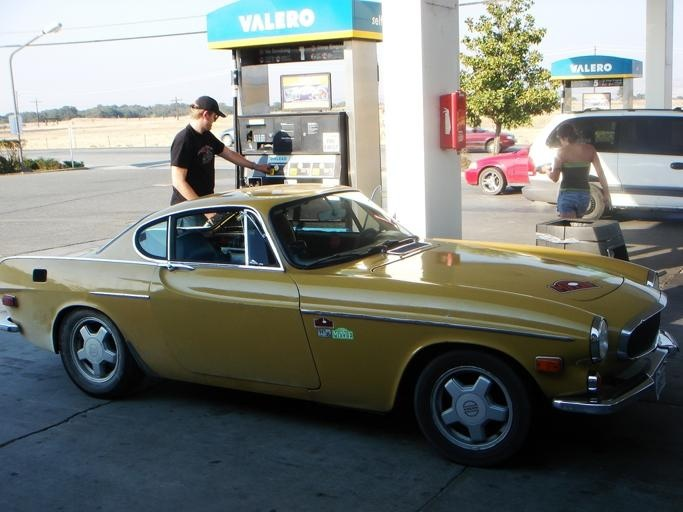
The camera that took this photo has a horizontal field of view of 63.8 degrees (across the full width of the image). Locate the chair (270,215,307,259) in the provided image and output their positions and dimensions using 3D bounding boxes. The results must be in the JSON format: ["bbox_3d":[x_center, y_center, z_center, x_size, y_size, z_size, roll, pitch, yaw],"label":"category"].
[{"bbox_3d":[-0.411,-0.141,4.047,0.128,0.328,0.236,-31,0,29],"label":"chair"}]

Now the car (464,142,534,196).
[{"bbox_3d":[4.665,-2.396,16.122,2.358,0.817,1.084,-4,8,16],"label":"car"}]
